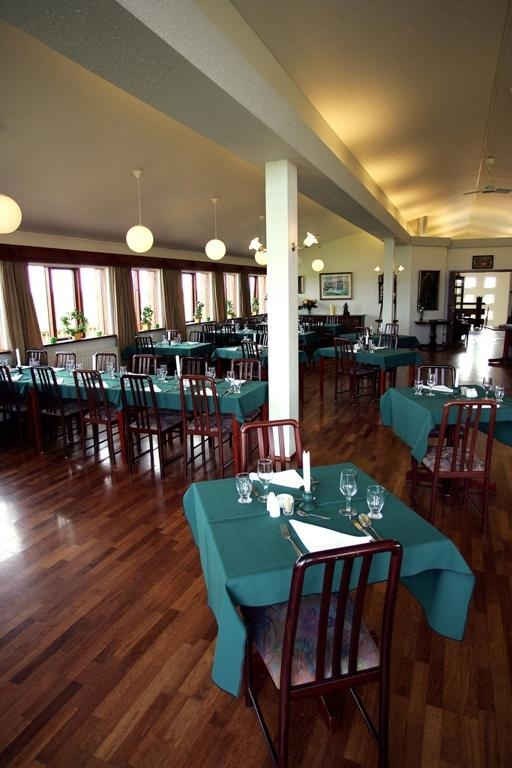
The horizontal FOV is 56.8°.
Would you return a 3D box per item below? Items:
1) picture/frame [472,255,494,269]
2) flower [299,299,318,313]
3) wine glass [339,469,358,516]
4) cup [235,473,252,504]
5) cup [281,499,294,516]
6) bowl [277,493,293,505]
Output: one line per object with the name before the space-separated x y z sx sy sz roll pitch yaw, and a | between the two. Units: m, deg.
picture/frame | 7.009 -3.821 14.652 0.368 0.349 0.052 4 16 12
flower | 1.702 -2.608 15.545 0.489 0.465 0.508 6 13 30
wine glass | 0.409 0.457 2.102 0.070 0.186 0.269 1 11 12
cup | -0.052 0.469 2.196 0.072 0.121 0.175 -1 11 0
cup | 0.136 0.523 2.058 0.053 0.077 0.092 -1 11 3
bowl | 0.125 0.495 2.053 0.049 0.040 0.047 -1 4 0
